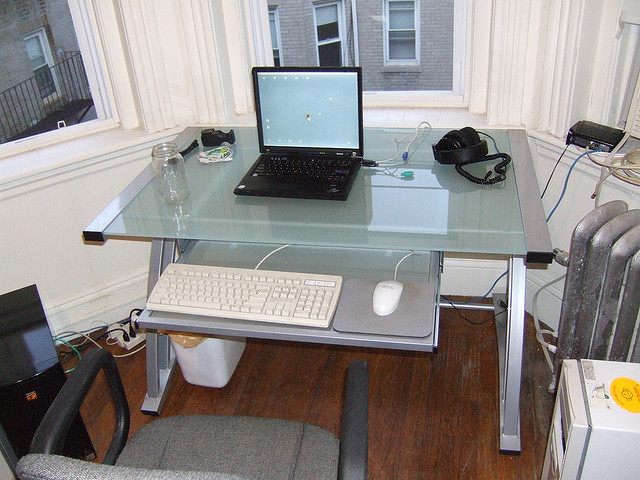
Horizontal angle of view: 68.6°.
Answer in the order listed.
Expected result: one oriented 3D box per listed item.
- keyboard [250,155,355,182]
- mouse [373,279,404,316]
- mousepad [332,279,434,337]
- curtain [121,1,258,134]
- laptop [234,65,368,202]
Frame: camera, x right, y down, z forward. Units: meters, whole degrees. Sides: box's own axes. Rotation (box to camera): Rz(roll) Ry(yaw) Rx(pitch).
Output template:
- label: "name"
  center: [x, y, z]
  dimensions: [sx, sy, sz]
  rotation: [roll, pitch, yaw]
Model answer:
- label: "keyboard"
  center: [-0.071, -0.274, 1.791]
  dimensions: [0.377, 0.027, 0.148]
  rotation: [3, 34, 10]
- label: "mouse"
  center: [0.209, 0.176, 1.469]
  dimensions: [0.081, 0.046, 0.141]
  rotation: [10, 36, 20]
- label: "mousepad"
  center: [0.199, 0.208, 1.460]
  dimensions: [0.300, 0.041, 0.214]
  rotation: [3, 34, 10]
- label: "curtain"
  center: [-0.581, -0.847, 2.229]
  dimensions: [0.566, 0.560, 0.226]
  rotation: [-9, 31, -8]
- label: "laptop"
  center: [-0.082, -0.404, 1.823]
  dimensions: [0.572, 0.544, 0.492]
  rotation: [3, 40, 9]
